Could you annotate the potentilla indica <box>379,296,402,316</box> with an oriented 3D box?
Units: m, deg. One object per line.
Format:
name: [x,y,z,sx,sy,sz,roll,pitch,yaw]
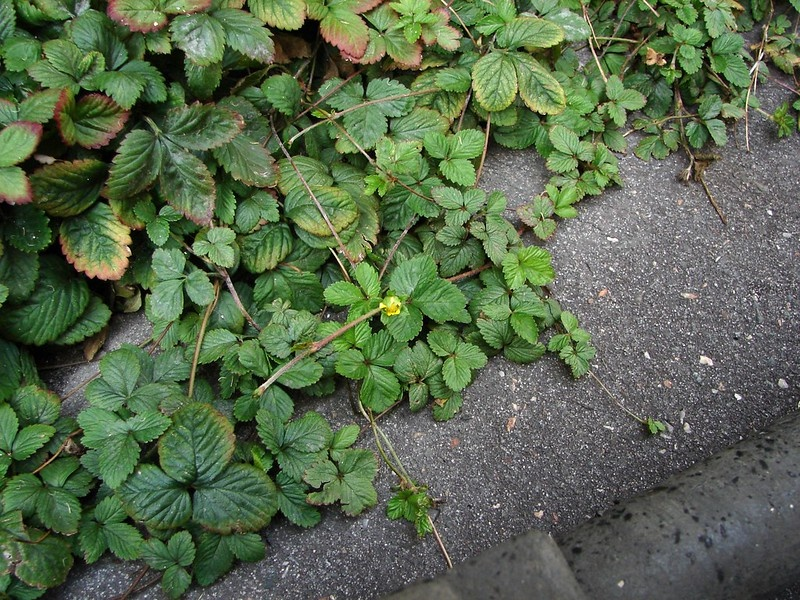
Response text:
potentilla indica: [-0.038,0.025,2.965,0.081,0.044,0.096,-16,67,2]
